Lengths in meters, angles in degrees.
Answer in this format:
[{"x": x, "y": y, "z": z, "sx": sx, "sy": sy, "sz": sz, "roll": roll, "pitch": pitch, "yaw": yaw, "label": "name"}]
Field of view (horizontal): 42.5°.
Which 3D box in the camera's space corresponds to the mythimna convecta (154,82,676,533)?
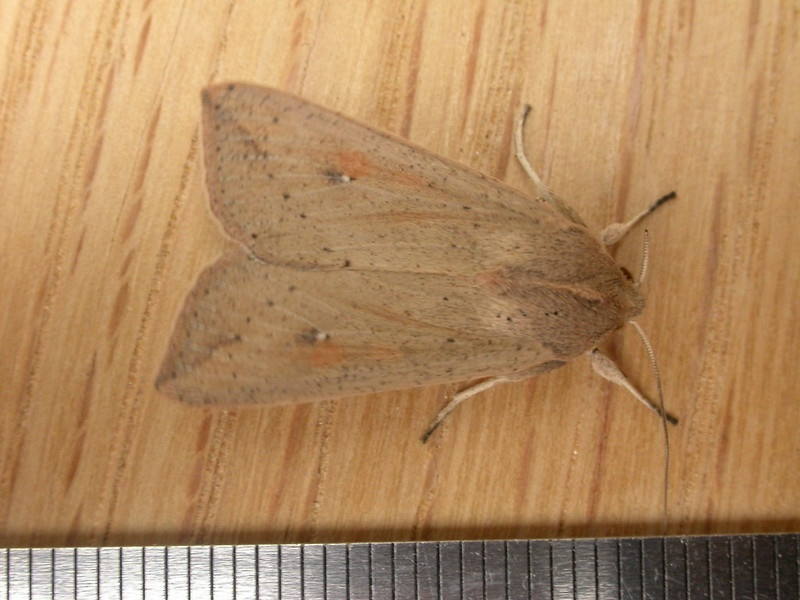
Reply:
[{"x": 0.029, "y": -0.118, "z": 4.137, "sx": 1.788, "sy": 0.416, "sz": 1.209, "roll": 5, "pitch": 83, "yaw": 2, "label": "mythimna convecta"}]
